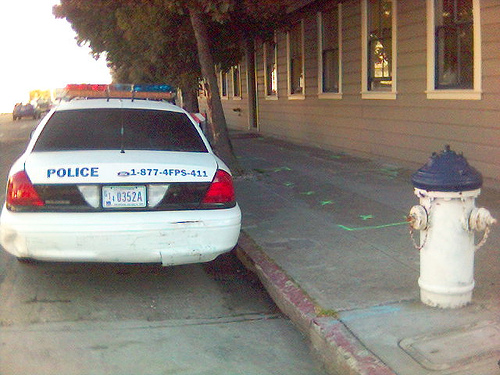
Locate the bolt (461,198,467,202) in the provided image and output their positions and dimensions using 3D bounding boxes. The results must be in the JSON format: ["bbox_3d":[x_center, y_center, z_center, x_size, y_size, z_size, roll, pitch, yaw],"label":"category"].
[{"bbox_3d":[1.799,0.106,3.541,0.032,0.029,0.009,7,-22,9],"label":"bolt"}]

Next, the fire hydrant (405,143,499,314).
[{"bbox_3d":[1.720,0.358,3.671,0.526,1.409,0.496,-9,15,-18],"label":"fire hydrant"}]

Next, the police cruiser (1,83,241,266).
[{"bbox_3d":[-1.388,-0.417,5.325,1.845,1.250,3.174,0,15,-8],"label":"police cruiser"}]
